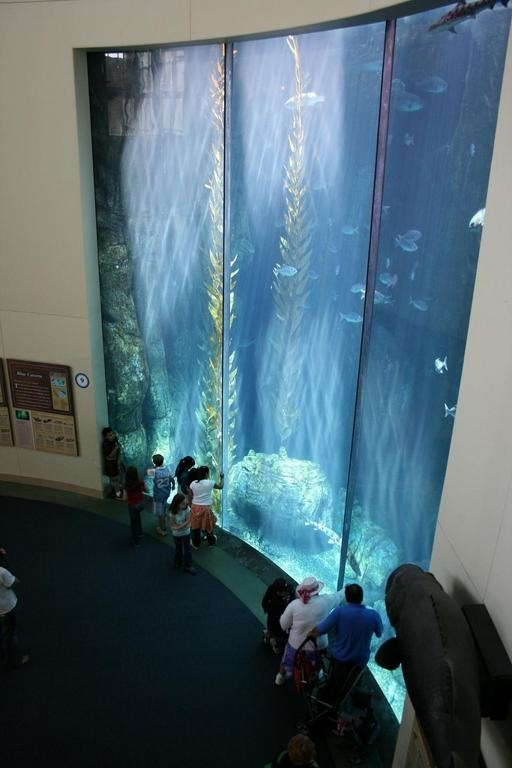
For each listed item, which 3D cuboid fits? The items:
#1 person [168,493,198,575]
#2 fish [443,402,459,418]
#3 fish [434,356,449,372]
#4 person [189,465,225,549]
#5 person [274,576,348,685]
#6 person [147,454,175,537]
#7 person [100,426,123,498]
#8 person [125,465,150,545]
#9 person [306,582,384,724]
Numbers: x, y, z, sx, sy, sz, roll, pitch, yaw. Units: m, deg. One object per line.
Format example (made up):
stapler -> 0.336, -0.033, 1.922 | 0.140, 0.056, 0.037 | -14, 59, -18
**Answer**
person -> -0.840, 1.677, 5.757 | 0.274, 1.074, 0.563 | 2, 10, -6
fish -> 1.493, 0.212, 3.890 | 0.032, 0.123, 0.139 | 1, 12, -9
fish -> 1.442, -0.153, 3.946 | 0.014, 0.138, 0.142 | -1, 12, -22
person -> -0.590, 1.481, 6.066 | 0.354, 1.050, 0.287 | -1, 15, -6
person -> 0.467, 2.056, 4.141 | 0.608, 1.074, 0.404 | -8, 30, -16
person -> -1.233, 1.431, 6.599 | 0.242, 1.126, 0.273 | 5, 16, 10
person -> -2.083, 1.168, 7.280 | 0.289, 1.074, 0.456 | -1, 10, -19
person -> -1.475, 1.461, 6.194 | 0.228, 1.183, 0.819 | 0, 11, -12
person -> 0.666, 2.075, 3.917 | 0.425, 1.220, 0.356 | 9, 16, 5
